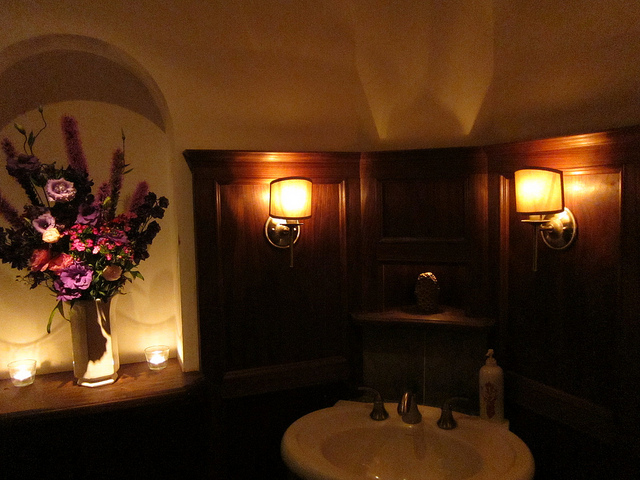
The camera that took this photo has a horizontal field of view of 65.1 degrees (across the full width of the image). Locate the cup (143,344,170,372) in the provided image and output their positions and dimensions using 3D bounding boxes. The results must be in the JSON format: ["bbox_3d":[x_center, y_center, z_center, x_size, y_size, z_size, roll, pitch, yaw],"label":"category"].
[{"bbox_3d":[-0.698,0.504,2.166,0.096,0.083,0.094,-1,0,0],"label":"cup"}]

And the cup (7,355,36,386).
[{"bbox_3d":[-1.214,0.524,2.055,0.114,0.091,0.104,2,-2,0],"label":"cup"}]

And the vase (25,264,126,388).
[{"bbox_3d":[-0.929,0.341,2.073,0.315,0.503,0.309,-3,4,-6],"label":"vase"}]

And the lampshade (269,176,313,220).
[{"bbox_3d":[-0.120,-0.171,2.072,0.173,0.172,0.073,0,1,-5],"label":"lampshade"}]
